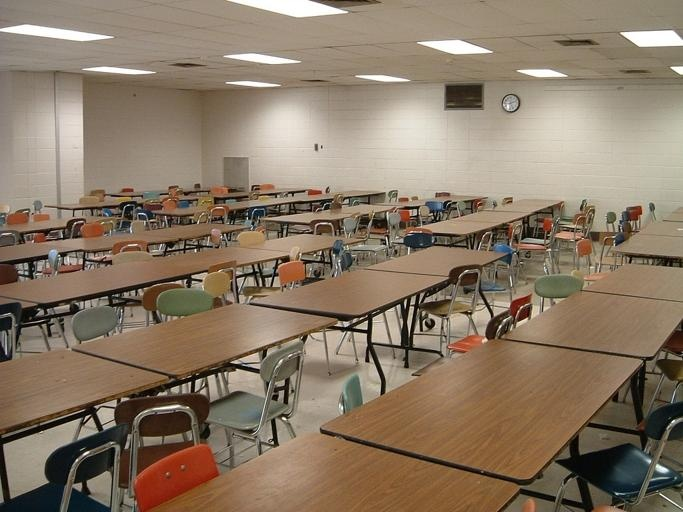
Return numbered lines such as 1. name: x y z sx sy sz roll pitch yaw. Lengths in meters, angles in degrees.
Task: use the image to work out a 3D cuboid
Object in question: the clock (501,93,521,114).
1. clock: 4.438 -4.017 12.412 0.647 0.532 0.106 8 17 38
